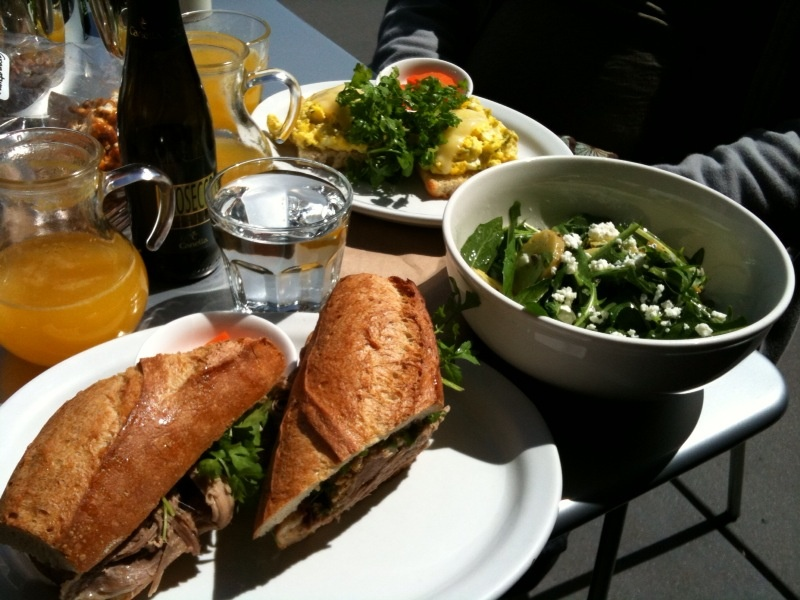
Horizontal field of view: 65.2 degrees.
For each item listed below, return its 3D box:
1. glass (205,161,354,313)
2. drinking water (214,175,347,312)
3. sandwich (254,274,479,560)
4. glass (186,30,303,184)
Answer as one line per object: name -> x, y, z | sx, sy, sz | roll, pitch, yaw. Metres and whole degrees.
glass -> -0.236, -0.119, 1.223 | 0.249, 0.227, 0.271 | 20, 39, 14
drinking water -> -0.215, -0.115, 1.164 | 0.244, 0.213, 0.257 | -6, 43, -10
sandwich -> -0.064, 0.142, 0.973 | 0.254, 0.154, 0.415 | 3, 45, 8
glass -> -0.349, -0.399, 1.349 | 0.271, 0.282, 0.153 | 26, 51, 9
